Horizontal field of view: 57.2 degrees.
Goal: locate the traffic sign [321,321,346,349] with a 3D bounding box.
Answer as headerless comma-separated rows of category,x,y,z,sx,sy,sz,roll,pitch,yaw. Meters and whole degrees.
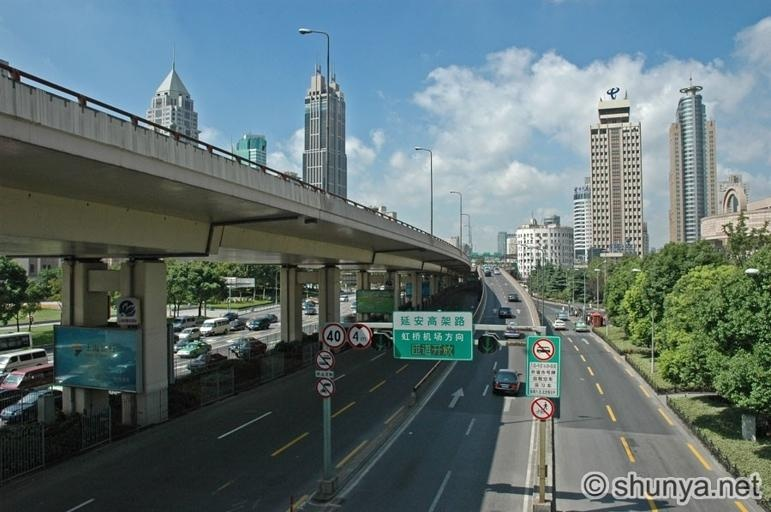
traffic sign,-3.405,5.306,47.371,1.516,1.693,1.606,0,16,3
